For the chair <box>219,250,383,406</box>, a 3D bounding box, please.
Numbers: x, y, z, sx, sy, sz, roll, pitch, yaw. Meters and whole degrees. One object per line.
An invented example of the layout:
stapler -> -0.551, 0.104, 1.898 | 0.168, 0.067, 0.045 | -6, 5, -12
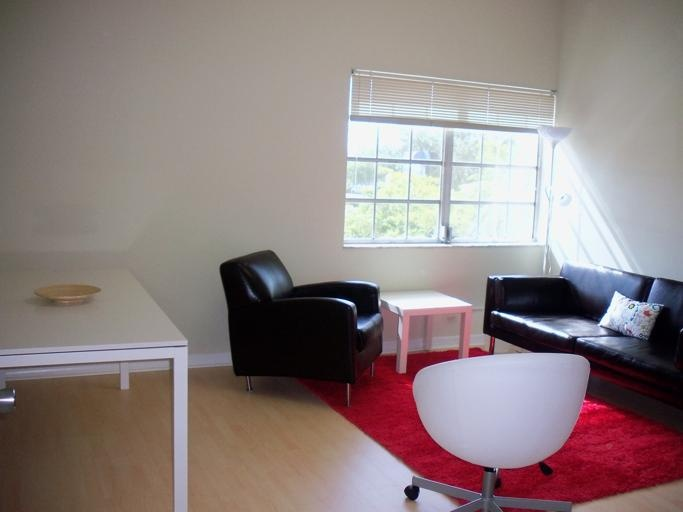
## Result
chair -> -0.245, 0.476, 4.179 | 1.138, 1.127, 1.103 | 0, 4, 7

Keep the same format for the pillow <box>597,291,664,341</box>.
pillow -> 2.256, 0.466, 3.966 | 0.196, 0.283, 0.397 | 0, 10, -27

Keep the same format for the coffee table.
coffee table -> 0.767, 0.595, 4.616 | 0.708, 0.573, 0.706 | 0, 6, -19

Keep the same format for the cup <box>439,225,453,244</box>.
cup -> 1.067, -0.226, 5.145 | 0.121, 0.195, 0.072 | 5, 9, 0

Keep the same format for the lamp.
lamp -> 2.076, -0.534, 5.151 | 0.271, 1.462, 0.596 | 9, 10, 23
